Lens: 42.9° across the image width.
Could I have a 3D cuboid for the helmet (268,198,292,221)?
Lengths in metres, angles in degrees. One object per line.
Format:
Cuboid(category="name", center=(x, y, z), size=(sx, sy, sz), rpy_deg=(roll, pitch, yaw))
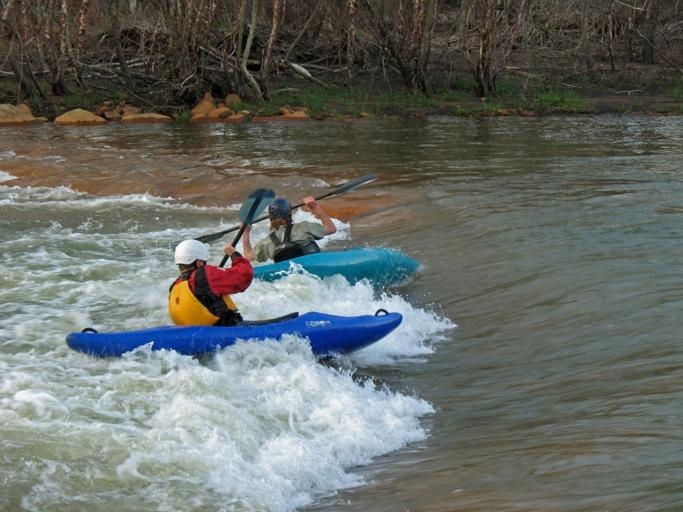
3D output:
Cuboid(category="helmet", center=(-0.663, -0.548, 9.746), size=(0.273, 0.232, 0.259), rpy_deg=(1, 28, -1))
